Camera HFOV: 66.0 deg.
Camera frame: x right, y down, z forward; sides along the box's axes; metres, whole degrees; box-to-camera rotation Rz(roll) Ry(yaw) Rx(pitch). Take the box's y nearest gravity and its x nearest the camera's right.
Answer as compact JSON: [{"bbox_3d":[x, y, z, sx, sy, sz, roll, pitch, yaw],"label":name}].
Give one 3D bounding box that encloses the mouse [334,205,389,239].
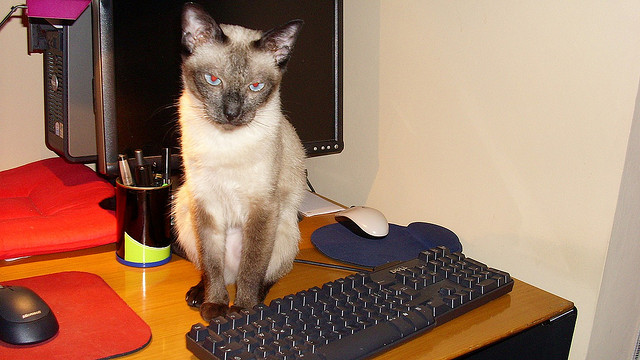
[{"bbox_3d":[0.149,0.143,1.730,0.183,0.098,0.202,3,15,26],"label":"mouse"}]
